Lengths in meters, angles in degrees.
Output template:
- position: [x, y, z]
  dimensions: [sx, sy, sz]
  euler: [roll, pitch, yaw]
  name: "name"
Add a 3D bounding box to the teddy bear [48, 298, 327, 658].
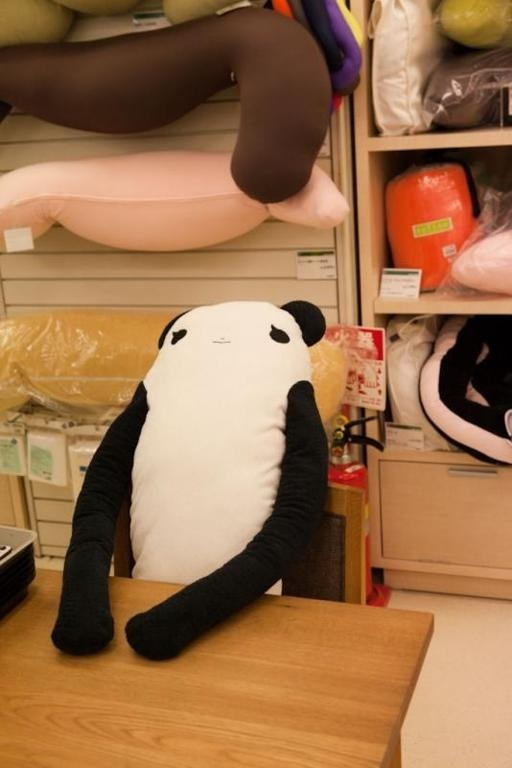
- position: [-0.088, 0.145, 1.078]
  dimensions: [0.415, 0.237, 0.724]
  euler: [1, 43, 19]
  name: "teddy bear"
